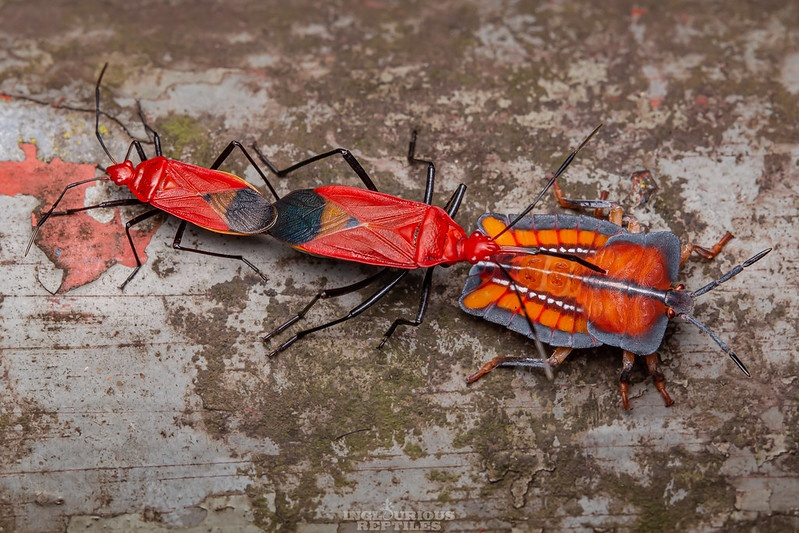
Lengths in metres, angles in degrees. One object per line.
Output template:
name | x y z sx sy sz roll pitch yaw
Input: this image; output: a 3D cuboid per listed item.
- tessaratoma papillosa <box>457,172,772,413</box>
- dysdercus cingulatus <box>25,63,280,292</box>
tessaratoma papillosa | 2.401 0.176 9.586 3.269 0.851 2.266 9 81 26
dysdercus cingulatus | -2.500 -0.788 9.707 2.559 0.581 1.787 19 80 5
